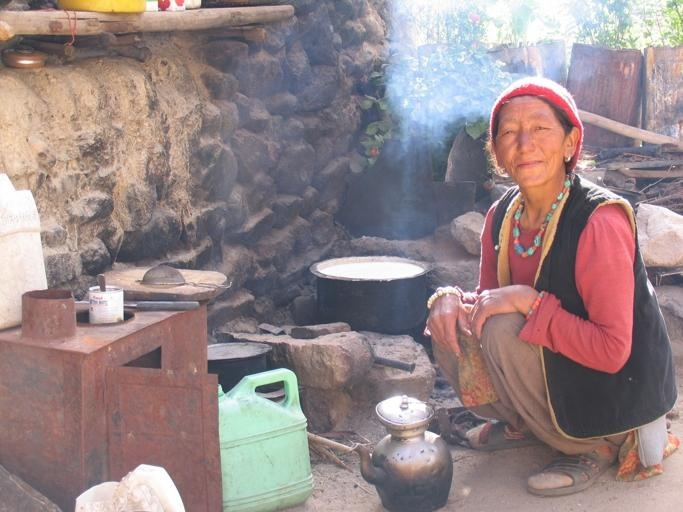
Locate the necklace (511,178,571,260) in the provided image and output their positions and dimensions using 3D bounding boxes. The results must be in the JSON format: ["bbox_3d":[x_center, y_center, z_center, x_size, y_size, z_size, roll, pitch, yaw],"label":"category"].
[{"bbox_3d":[0.977,-0.181,4.374,0.197,0.398,0.249,2,16,-20],"label":"necklace"}]

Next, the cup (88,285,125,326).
[{"bbox_3d":[-1.087,0.228,3.985,0.149,0.166,0.151,3,12,-1],"label":"cup"}]

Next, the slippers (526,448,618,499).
[{"bbox_3d":[1.067,1.047,4.356,0.609,0.193,0.269,-2,4,-32],"label":"slippers"}]

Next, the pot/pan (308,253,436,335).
[{"bbox_3d":[0.240,0.265,6.273,0.901,0.378,0.772,-1,12,-1],"label":"pot/pan"}]
